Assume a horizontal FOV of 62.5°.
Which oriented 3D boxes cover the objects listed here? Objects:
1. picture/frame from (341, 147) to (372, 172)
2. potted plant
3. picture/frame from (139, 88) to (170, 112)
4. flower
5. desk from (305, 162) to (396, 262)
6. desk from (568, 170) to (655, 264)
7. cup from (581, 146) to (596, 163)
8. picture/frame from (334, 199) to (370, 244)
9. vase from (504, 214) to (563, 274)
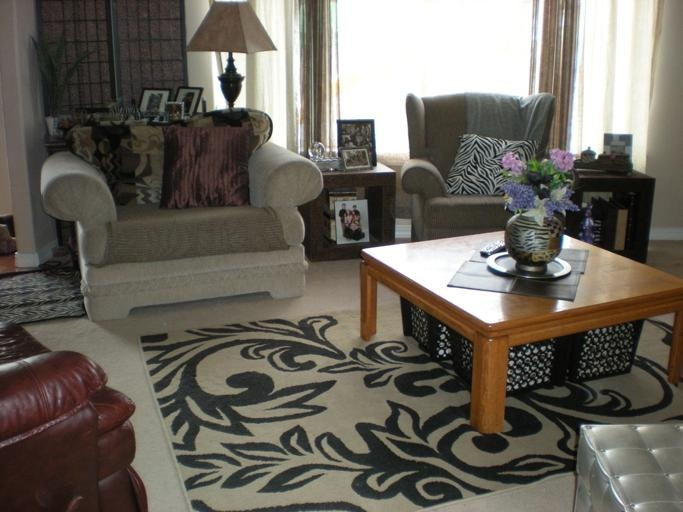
[{"bbox_3d":[0.101,-0.721,4.207,0.195,0.175,0.020,-3,-15,-10],"label":"picture/frame"},{"bbox_3d":[-2.026,-1.273,4.179,0.383,0.740,0.351,-10,18,-25],"label":"potted plant"},{"bbox_3d":[-1.412,-1.185,4.318,0.200,0.205,0.048,5,-5,-2],"label":"picture/frame"},{"bbox_3d":[0.882,-0.320,2.518,0.320,0.318,0.225,0,17,6],"label":"flower"},{"bbox_3d":[0.039,-0.370,4.458,0.889,0.862,0.657,-2,16,-11],"label":"desk"},{"bbox_3d":[1.947,-0.286,4.342,0.492,0.564,0.634,0,9,-18],"label":"desk"},{"bbox_3d":[1.882,-0.778,4.277,0.131,0.126,0.129,0,13,0],"label":"cup"},{"bbox_3d":[0.062,-0.264,4.249,0.319,0.378,0.049,-3,4,-14],"label":"picture/frame"},{"bbox_3d":[0.836,-0.082,2.568,0.260,0.297,0.263,0,14,5],"label":"vase"}]
